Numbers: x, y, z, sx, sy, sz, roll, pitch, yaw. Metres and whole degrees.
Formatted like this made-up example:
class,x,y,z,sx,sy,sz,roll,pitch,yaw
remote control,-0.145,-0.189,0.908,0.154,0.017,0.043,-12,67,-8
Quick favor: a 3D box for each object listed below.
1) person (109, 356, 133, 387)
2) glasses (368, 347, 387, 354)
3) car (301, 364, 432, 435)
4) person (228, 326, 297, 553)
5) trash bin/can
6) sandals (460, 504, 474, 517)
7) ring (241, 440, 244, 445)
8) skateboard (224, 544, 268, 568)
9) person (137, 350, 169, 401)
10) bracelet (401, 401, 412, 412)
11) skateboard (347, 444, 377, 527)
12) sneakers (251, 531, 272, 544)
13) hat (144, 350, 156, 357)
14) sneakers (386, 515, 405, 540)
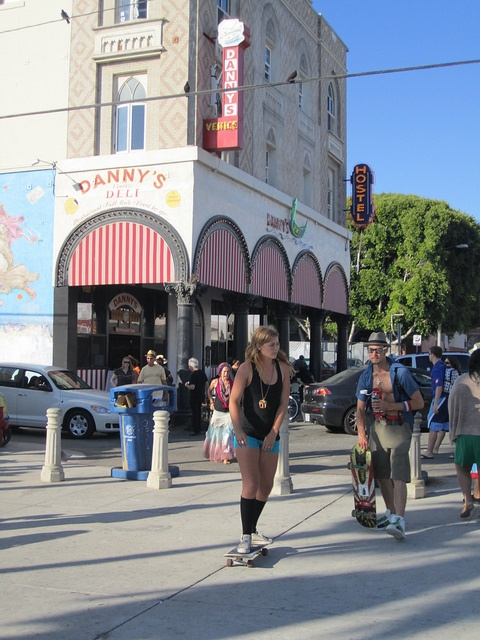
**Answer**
class,x,y,z,sx,sy,sz,roll,pitch,yaw
person,-2.313,1.007,17.730,0.458,0.860,0.281,6,-16,-25
glasses,1.143,0.255,7.654,0.118,0.054,0.231,0,-1,-37
car,2.590,1.461,16.888,2.657,1.204,1.246,-6,2,-18
person,0.160,0.877,6.769,0.519,1.665,0.318,0,-1,-18
trash bin/can,-1.198,1.350,11.154,0.611,1.099,0.719,-1,-1,27
sandals,2.030,1.706,8.127,0.068,0.082,0.179,-1,-27,7
ring,0.025,0.882,6.567,0.024,0.030,0.010,-2,-2,13
skateboard,0.038,1.742,6.772,0.290,0.110,0.403,0,-1,11
person,-1.428,1.143,14.987,0.462,1.375,0.348,-2,-19,-3
bracelet,1.398,0.715,7.533,0.067,0.098,0.130,-1,-1,43
skateboard,1.033,1.334,7.494,0.177,0.744,0.097,-3,0,24
sneakers,0.156,1.674,6.992,0.207,0.113,0.078,2,3,17
hat,-1.495,0.567,15.379,0.217,0.116,0.341,7,-5,1
sneakers,1.268,1.642,7.300,0.083,0.166,0.266,-9,-40,24
